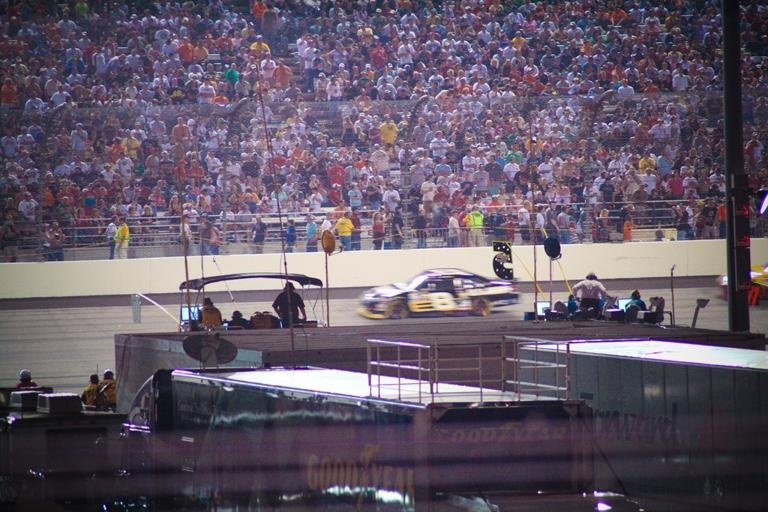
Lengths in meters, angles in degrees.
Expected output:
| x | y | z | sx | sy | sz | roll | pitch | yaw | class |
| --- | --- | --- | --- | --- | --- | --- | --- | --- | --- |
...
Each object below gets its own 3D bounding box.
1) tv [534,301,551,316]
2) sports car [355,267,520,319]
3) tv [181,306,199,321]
| x | y | z | sx | sy | sz | roll | pitch | yaw | class |
| --- | --- | --- | --- | --- | --- | --- | --- | --- | --- |
| 4.749 | 1.604 | 60.530 | 0.718 | 0.095 | 0.930 | -13 | 9 | 3 | tv |
| 1.695 | 1.272 | 63.563 | 3.998 | 1.071 | 1.925 | 0 | 1 | -4 | sports car |
| -5.856 | 1.751 | 60.477 | 0.609 | 0.471 | 0.857 | 6 | 1 | -12 | tv |
